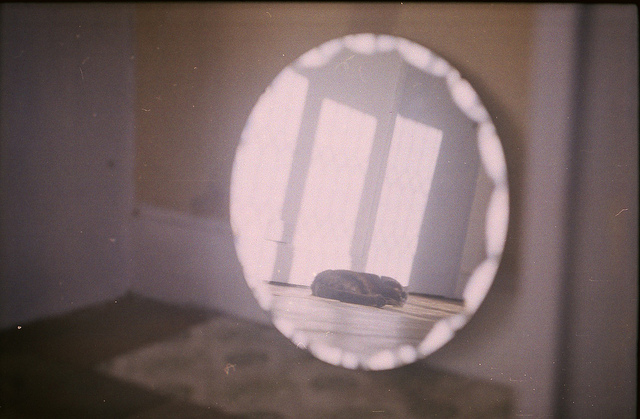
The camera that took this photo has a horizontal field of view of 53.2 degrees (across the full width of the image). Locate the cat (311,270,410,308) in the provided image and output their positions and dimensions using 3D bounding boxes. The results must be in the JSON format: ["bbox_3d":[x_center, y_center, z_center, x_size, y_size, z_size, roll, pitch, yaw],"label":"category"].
[{"bbox_3d":[0.153,0.308,2.465,0.260,0.083,0.178,8,1,-1],"label":"cat"}]
